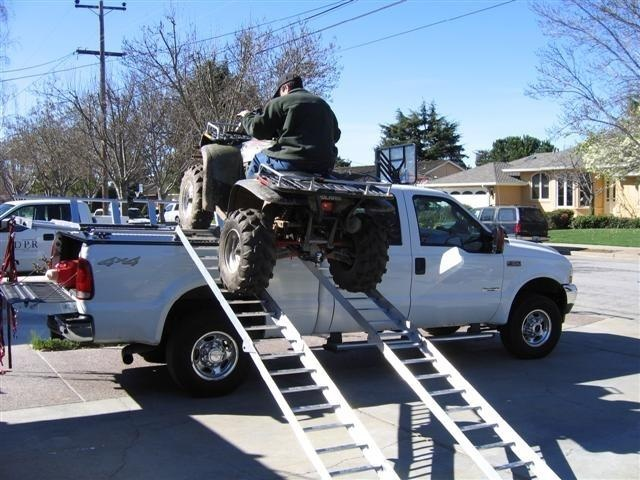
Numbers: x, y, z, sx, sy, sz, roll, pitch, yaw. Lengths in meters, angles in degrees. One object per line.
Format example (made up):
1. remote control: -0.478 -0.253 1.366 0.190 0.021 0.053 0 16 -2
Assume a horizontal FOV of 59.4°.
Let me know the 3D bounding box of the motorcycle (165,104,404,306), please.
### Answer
1. motorcycle: -0.513 -0.593 7.075 1.838 1.991 3.265 0 14 -28

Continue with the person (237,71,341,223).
1. person: -0.305 -1.134 6.720 1.194 1.584 1.056 1 5 -18

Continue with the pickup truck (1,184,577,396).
1. pickup truck: 0.010 0.613 7.851 6.984 2.362 2.933 -1 3 -28
